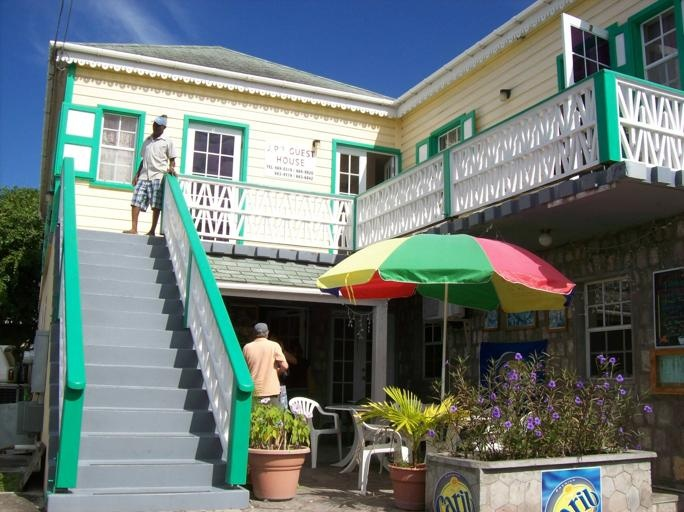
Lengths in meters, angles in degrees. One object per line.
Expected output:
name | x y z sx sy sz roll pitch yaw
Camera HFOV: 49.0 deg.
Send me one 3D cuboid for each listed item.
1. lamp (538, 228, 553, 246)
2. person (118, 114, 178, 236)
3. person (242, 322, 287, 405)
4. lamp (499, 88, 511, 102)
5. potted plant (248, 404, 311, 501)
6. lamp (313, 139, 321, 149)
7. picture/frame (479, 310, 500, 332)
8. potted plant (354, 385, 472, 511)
lamp | 3.283 -0.287 12.020 0.238 0.313 0.253 -1 -12 18
person | -3.299 -1.389 13.035 0.909 2.262 0.529 -4 -13 31
person | -1.178 1.562 11.259 0.526 1.203 0.789 -2 -12 22
lamp | 3.163 -3.083 14.445 0.222 0.242 0.141 2 -10 -1
potted plant | -0.998 2.669 10.195 0.985 1.241 1.029 11 -20 -33
lamp | -0.550 -2.482 16.746 0.143 0.161 0.225 -2 28 -2
picture/frame | 2.798 1.189 14.023 0.054 0.473 0.515 6 -6 -26
potted plant | 0.949 2.530 10.265 1.327 1.305 1.417 0 -6 7
